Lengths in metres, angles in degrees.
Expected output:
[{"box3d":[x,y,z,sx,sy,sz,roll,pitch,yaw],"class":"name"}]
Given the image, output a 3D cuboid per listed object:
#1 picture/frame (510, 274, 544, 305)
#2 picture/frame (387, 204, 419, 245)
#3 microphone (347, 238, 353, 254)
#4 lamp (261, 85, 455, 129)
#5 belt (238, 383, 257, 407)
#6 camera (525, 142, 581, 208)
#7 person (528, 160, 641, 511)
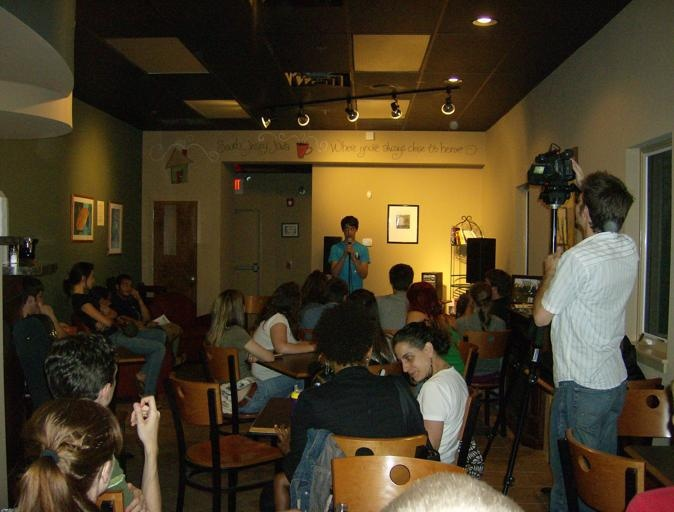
[{"box3d":[1.667,0.299,5.003,0.164,0.326,0.311,6,-6,-24],"class":"picture/frame"},{"box3d":[1.021,-0.471,8.808,0.516,0.720,0.027,1,-4,-2],"class":"picture/frame"},{"box3d":[0.147,-0.111,6.407,0.060,0.173,0.067,0,1,1],"class":"microphone"},{"box3d":[0.295,-1.738,6.892,2.543,0.331,1.170,1,2,27],"class":"lamp"},{"box3d":[-0.673,1.052,4.279,0.033,0.137,0.099,35,-17,-15],"class":"belt"},{"box3d":[1.252,-0.450,3.270,0.244,0.340,0.207,0,-3,-40],"class":"camera"},{"box3d":[1.267,0.436,2.882,0.524,1.733,0.386,0,1,7],"class":"person"}]
